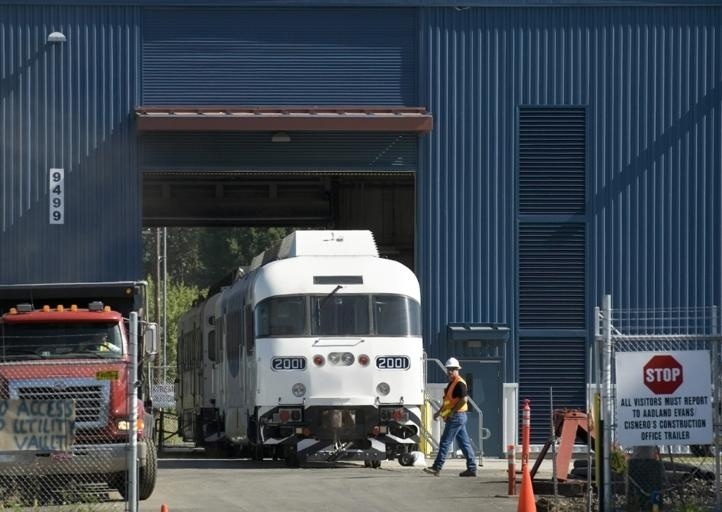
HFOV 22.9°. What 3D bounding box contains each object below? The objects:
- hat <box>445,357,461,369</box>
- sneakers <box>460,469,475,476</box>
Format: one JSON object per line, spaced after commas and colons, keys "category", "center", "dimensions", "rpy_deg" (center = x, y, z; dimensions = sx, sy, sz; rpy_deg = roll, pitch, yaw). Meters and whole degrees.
{"category": "hat", "center": [2.077, 2.444, 39.744], "dimensions": [0.342, 0.247, 0.511], "rpy_deg": [-1, -12, -1]}
{"category": "sneakers", "center": [2.382, 4.948, 39.364], "dimensions": [0.390, 0.180, 0.133], "rpy_deg": [2, 1, 36]}
